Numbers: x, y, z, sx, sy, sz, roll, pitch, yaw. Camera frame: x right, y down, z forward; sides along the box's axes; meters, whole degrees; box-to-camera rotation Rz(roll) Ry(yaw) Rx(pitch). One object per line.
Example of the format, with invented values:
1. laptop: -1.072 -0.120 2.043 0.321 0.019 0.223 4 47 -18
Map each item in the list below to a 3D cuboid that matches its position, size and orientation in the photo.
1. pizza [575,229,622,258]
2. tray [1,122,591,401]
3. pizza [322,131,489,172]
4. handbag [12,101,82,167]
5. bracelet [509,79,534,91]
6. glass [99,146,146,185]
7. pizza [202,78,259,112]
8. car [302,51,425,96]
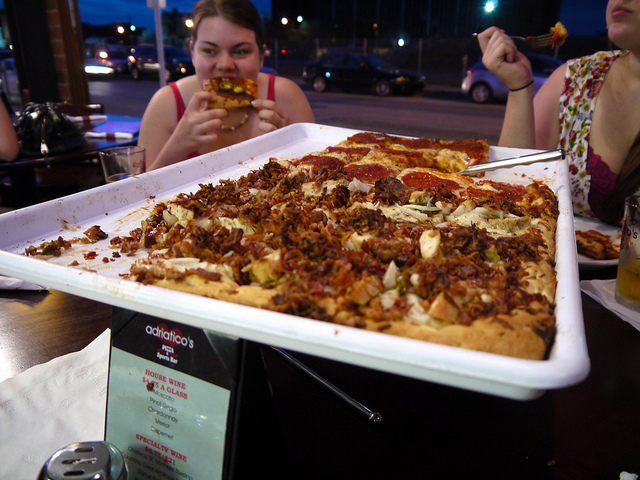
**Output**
1. pizza: 1.389 0.029 2.240 0.231 0.035 0.230 -21 28 -34
2. tray: 0.040 -0.148 1.913 1.909 0.289 2.010 11 25 24
3. pizza: 0.564 -0.520 2.583 0.587 0.089 0.462 9 25 25
4. handbag: -2.466 -0.855 3.877 0.546 0.298 0.775 -1 28 -15
5. bracelet: 1.380 -1.045 2.975 0.193 0.064 0.110 -8 24 -18
6. glass: -1.360 -0.510 3.055 0.325 0.283 0.352 8 13 41
7. pizza: -0.616 -0.999 3.040 0.371 0.226 0.270 -5 23 -12
8. car: 1.383 -5.922 15.651 3.961 1.369 1.147 15 27 32
